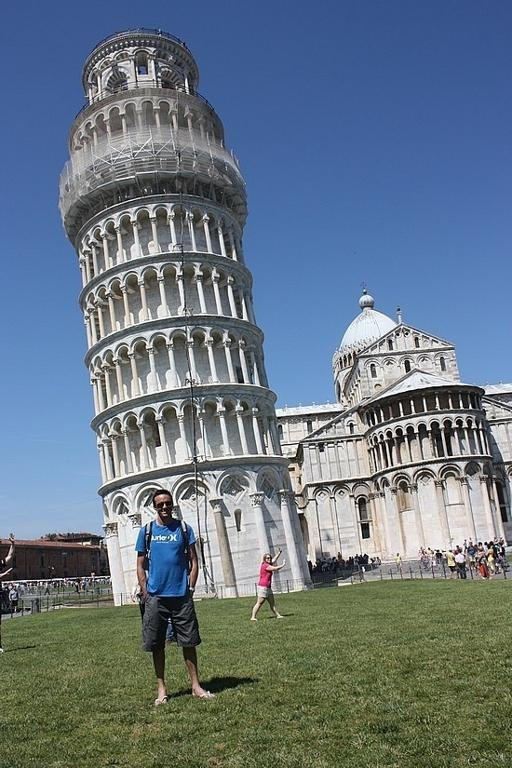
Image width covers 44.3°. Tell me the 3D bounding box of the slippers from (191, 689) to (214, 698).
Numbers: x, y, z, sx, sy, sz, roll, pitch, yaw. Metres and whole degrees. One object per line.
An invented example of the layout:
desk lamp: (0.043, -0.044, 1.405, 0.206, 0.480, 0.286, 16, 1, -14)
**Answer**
slippers: (-0.597, 3.386, 6.886, 0.271, 0.106, 0.090, -12, -19, 26)

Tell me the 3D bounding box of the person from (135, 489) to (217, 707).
person: (-0.992, 2.388, 7.225, 0.732, 2.342, 0.657, -7, -12, -11)
